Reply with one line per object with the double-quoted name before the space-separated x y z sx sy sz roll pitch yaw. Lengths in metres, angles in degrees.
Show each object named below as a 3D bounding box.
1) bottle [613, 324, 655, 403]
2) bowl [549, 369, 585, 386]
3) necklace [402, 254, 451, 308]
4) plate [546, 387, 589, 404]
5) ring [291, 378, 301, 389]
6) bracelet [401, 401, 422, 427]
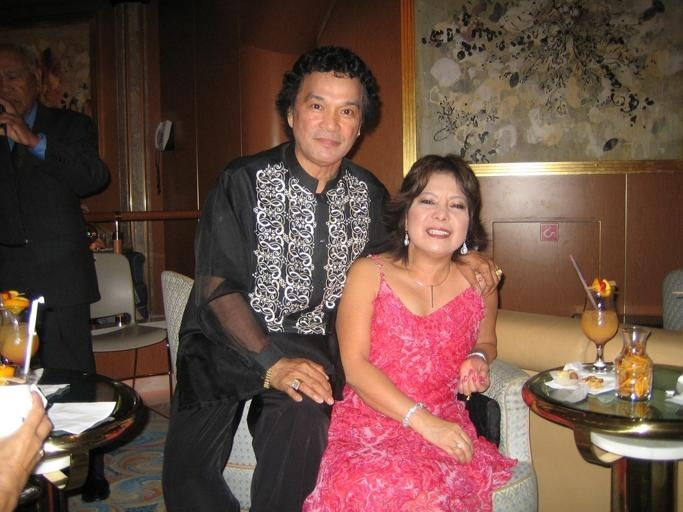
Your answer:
"bottle" 1.092 0.391 2.013 0.121 0.240 0.205 2 7 30
"bowl" 0.872 0.473 2.093 0.070 0.040 0.067 1 -5 0
"necklace" 0.339 0.114 2.209 0.126 0.236 0.040 -3 -8 -12
"plate" 0.841 0.511 1.988 0.094 0.032 0.068 -19 4 -8
"ring" -0.164 0.462 1.949 0.029 0.033 0.031 1 4 0
"bracelet" 0.246 0.568 1.960 0.060 0.083 0.032 9 22 -43
